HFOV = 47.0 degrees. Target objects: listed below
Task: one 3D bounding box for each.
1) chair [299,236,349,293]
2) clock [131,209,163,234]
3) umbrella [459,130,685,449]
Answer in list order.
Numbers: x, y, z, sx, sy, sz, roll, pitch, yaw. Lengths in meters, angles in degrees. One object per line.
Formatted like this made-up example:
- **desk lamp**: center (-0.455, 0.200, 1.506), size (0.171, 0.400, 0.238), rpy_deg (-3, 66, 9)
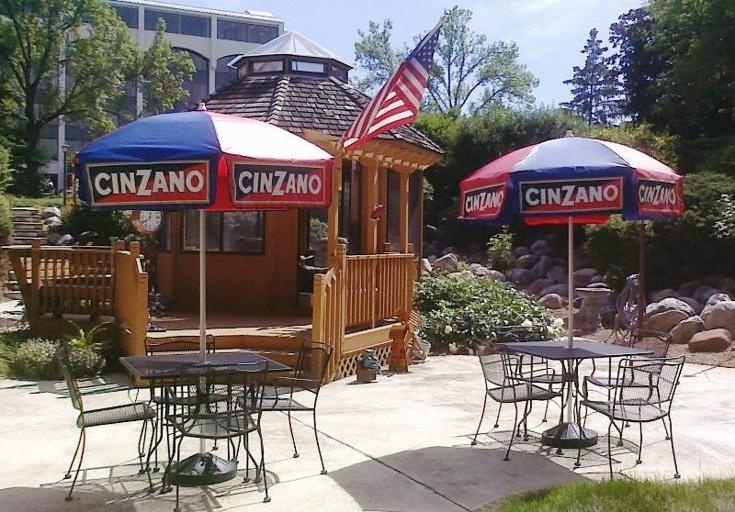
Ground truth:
- **chair**: center (-0.923, 0.271, 19.440), size (1.208, 1.806, 1.182), rpy_deg (0, -2, 0)
- **clock**: center (-4.708, -0.745, 18.123), size (0.157, 0.569, 0.547), rpy_deg (-9, -10, 34)
- **umbrella**: center (3.398, 0.444, 15.714), size (4.422, 5.808, 4.449), rpy_deg (1, -1, 1)
